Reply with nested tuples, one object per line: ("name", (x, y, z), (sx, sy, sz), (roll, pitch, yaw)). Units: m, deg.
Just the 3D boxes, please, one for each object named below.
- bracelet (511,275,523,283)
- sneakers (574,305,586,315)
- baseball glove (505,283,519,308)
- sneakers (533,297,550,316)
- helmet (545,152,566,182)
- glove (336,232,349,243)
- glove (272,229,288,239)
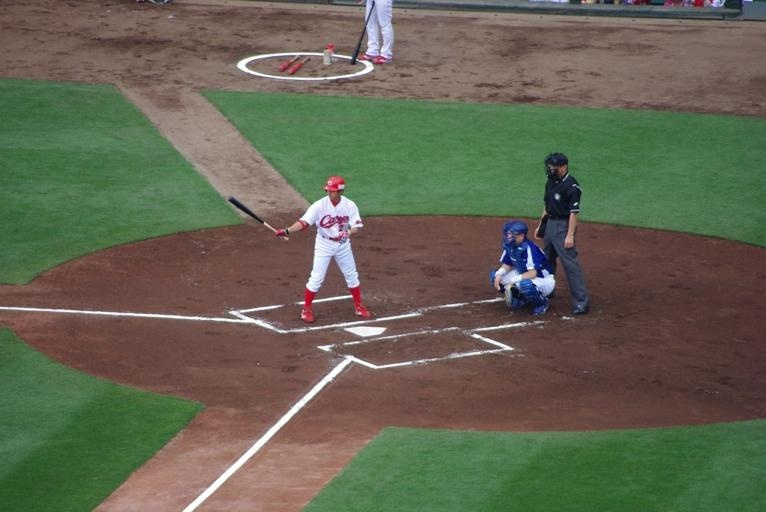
("bracelet", (2.655, 0.443, 25.414), (0.186, 0.043, 0.176), (-2, 24, 47))
("sneakers", (3.935, 1.052, 25.302), (0.274, 0.124, 0.263), (8, -14, 43))
("baseball glove", (2.526, 0.766, 25.289), (0.295, 0.417, 0.210), (0, 0, -12))
("sneakers", (3.137, 0.996, 25.323), (0.210, 0.181, 0.450), (-4, 27, 47))
("helmet", (3.434, -1.770, 25.251), (0.440, 0.565, 0.268), (4, 25, 15))
("glove", (-0.839, -0.388, 25.100), (0.258, 0.225, 0.071), (-14, 27, -29))
("glove", (-2.033, -0.441, 25.060), (0.257, 0.117, 0.291), (21, 0, -3))
